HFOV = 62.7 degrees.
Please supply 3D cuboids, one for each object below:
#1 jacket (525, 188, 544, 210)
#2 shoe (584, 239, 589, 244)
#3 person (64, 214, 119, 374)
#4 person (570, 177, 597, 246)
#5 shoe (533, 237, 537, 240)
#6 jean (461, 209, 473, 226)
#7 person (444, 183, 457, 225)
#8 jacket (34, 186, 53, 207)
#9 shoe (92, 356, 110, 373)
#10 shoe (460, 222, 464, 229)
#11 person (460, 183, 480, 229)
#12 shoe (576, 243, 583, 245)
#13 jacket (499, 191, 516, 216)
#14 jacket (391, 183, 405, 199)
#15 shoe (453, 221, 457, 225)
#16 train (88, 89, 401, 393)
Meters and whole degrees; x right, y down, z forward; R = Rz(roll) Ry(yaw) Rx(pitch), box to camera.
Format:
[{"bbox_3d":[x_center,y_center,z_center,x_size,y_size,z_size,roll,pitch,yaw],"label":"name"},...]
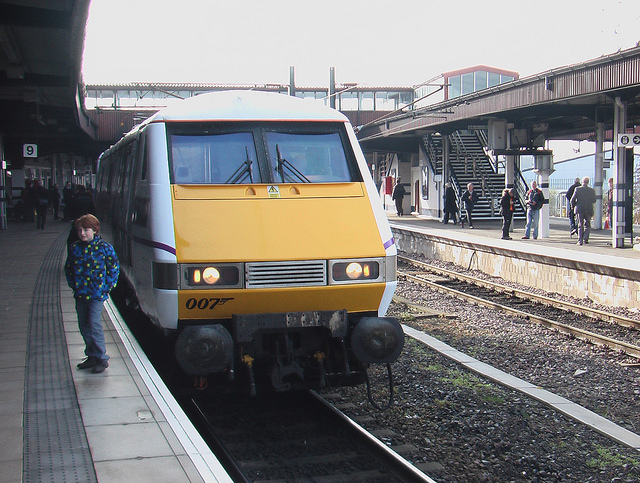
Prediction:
[{"bbox_3d":[8.232,-1.665,20.036,0.491,0.792,0.394,2,5,18],"label":"jacket"},{"bbox_3d":[9.187,-0.021,18.125,0.071,0.138,0.346,5,6,39],"label":"shoe"},{"bbox_3d":[-2.730,0.589,6.198,0.576,1.806,0.461,2,4,9],"label":"person"},{"bbox_3d":[9.218,-1.078,18.429,0.719,2.374,0.686,1,-3,11],"label":"person"},{"bbox_3d":[8.356,-0.159,20.335,0.072,0.135,0.144,0,23,8],"label":"shoe"},{"bbox_3d":[7.427,-1.250,26.419,0.467,0.786,3.076,2,5,15],"label":"jean"},{"bbox_3d":[6.928,-1.993,27.598,0.938,2.125,0.503,-2,5,-35],"label":"person"},{"bbox_3d":[-14.326,-2.440,27.075,0.697,0.819,2.283,-2,6,-29],"label":"jacket"},{"bbox_3d":[-2.549,1.421,6.099,0.160,0.154,0.228,0,5,-18],"label":"shoe"},{"bbox_3d":[7.174,-0.846,26.473,0.162,0.279,0.586,-2,-7,9],"label":"shoe"},{"bbox_3d":[7.310,-1.821,25.481,0.705,1.406,2.172,-4,48,9],"label":"person"},{"bbox_3d":[8.868,0.064,17.962,0.197,0.049,0.295,3,6,22],"label":"shoe"},{"bbox_3d":[7.018,-1.428,20.026,0.648,1.051,0.357,0,3,-27],"label":"jacket"},{"bbox_3d":[4.955,-3.247,33.285,0.543,1.010,0.883,3,5,26],"label":"jacket"},{"bbox_3d":[7.304,-1.028,28.315,0.188,0.235,0.195,0,4,-8],"label":"shoe"},{"bbox_3d":[-2.735,-0.309,10.316,2.762,4.077,11.108,0,2,-28],"label":"train"}]
